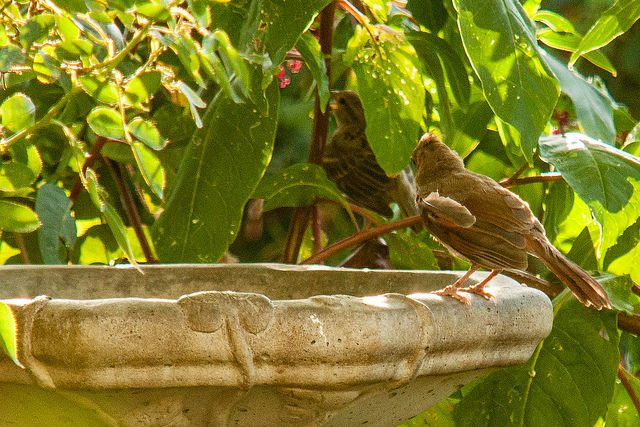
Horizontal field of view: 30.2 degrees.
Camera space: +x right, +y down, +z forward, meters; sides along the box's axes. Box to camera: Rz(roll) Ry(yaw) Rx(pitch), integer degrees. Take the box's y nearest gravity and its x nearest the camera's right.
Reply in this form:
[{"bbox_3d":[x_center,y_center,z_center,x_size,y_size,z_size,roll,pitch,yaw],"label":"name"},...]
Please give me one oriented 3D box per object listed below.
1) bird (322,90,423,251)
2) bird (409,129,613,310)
[{"bbox_3d":[0.144,-0.151,3.465,0.274,0.369,0.317,3,29,-1],"label":"bird"},{"bbox_3d":[0.411,0.026,2.782,0.218,0.421,0.607,1,5,-44],"label":"bird"}]
